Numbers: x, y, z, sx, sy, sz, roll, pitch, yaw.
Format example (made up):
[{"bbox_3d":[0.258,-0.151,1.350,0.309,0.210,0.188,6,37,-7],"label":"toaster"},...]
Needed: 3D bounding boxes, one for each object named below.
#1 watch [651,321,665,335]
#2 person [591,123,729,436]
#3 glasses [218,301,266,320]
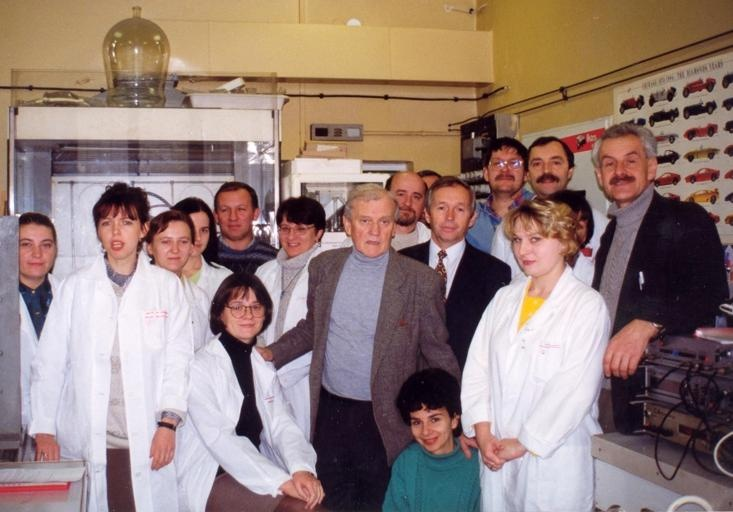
[{"bbox_3d":[1.289,0.318,2.768,0.048,0.060,0.053,19,51,40],"label":"watch"},{"bbox_3d":[1.408,0.034,3.001,0.569,1.397,0.860,1,7,14],"label":"person"},{"bbox_3d":[-0.633,0.268,3.199,0.231,0.100,0.049,-1,6,-8],"label":"glasses"}]
